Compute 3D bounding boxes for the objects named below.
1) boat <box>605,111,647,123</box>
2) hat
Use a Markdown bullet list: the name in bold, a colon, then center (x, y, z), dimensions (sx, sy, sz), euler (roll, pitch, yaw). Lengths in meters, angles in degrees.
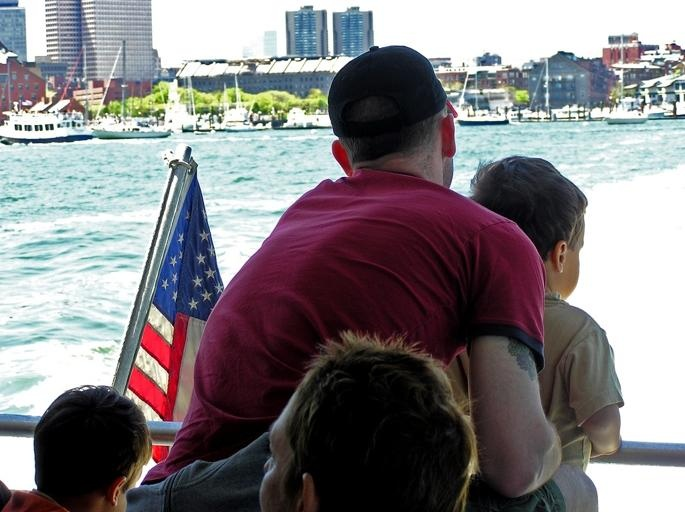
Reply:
- **boat**: center (15.659, -7.680, 54.327), dimensions (1.975, 0.719, 1.053), euler (2, 10, 15)
- **hat**: center (0.091, -0.331, 2.001), dimensions (0.167, 0.158, 0.252), euler (-3, 22, 27)
